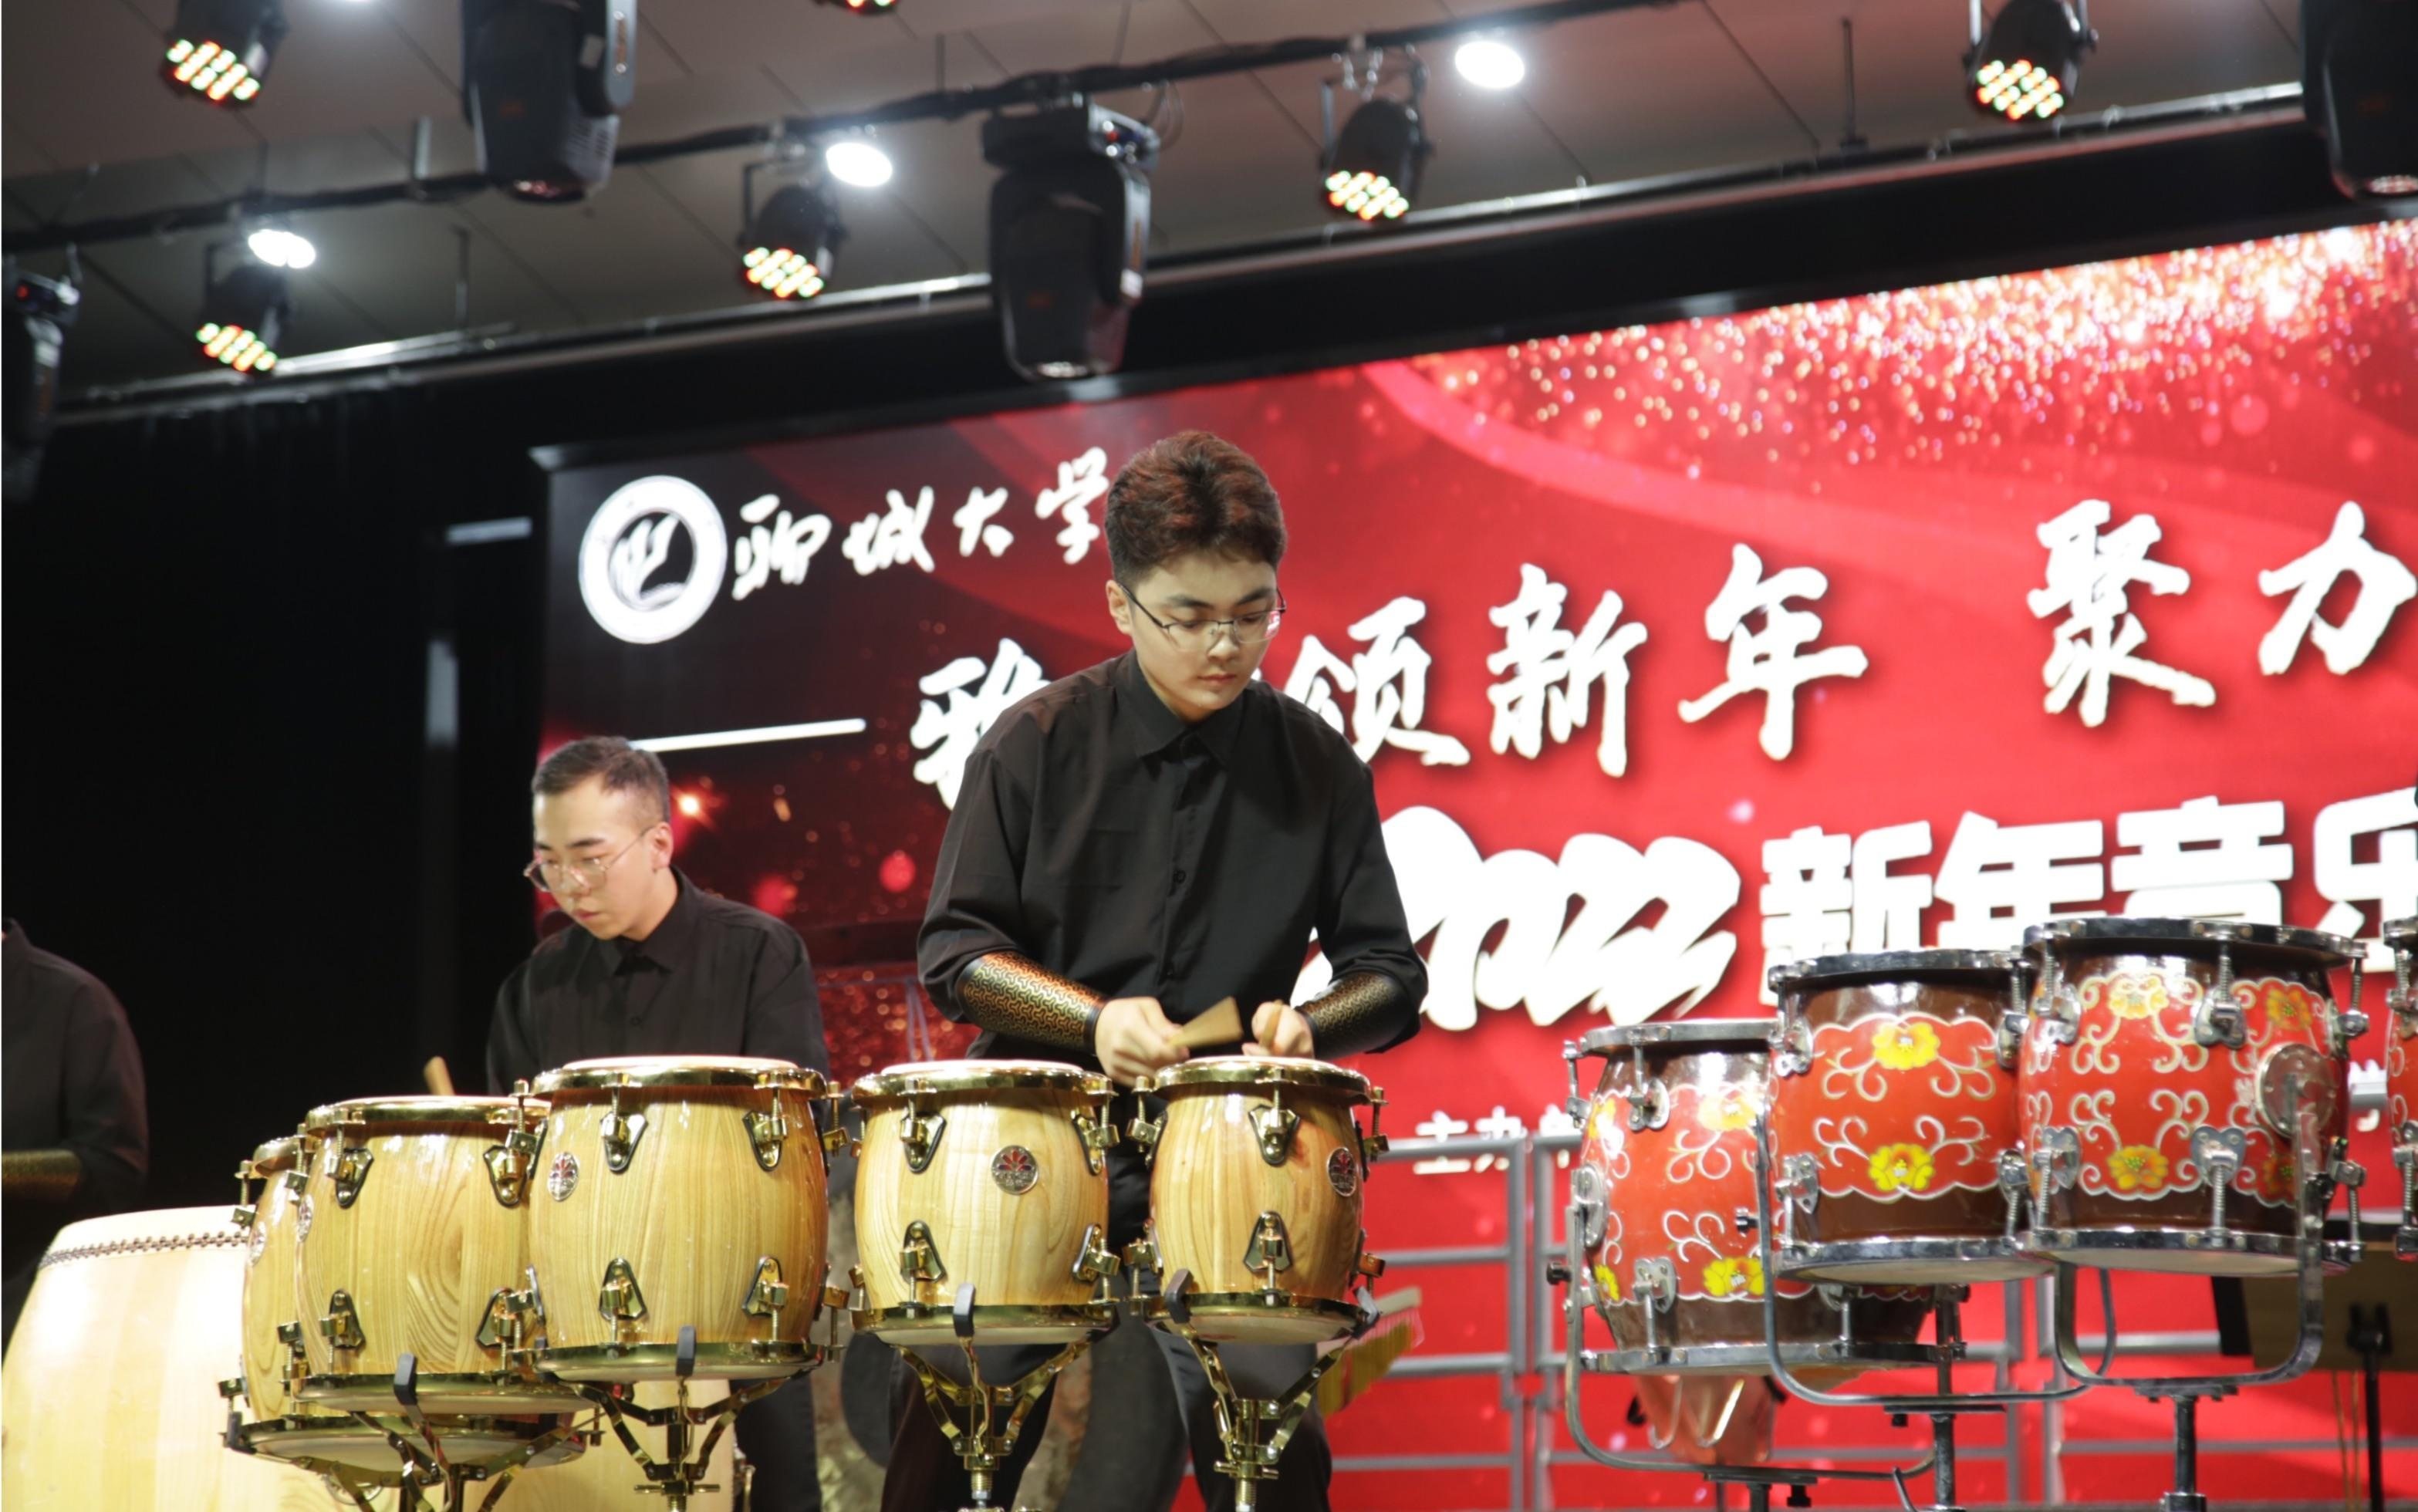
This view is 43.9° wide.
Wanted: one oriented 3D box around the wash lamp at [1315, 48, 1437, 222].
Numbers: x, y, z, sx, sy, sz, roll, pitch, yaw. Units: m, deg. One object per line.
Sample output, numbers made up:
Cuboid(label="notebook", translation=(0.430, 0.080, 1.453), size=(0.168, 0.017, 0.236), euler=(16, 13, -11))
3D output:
Cuboid(label="wash lamp", translation=(0.462, -1.732, 8.307), size=(0.274, 0.514, 0.238), euler=(-3, -31, 11))

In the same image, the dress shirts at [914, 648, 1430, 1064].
Cuboid(label="dress shirts", translation=(-0.079, 0.285, 6.246), size=(1.116, 0.972, 0.737), euler=(4, -13, -8))

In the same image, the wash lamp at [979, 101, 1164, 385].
Cuboid(label="wash lamp", translation=(-0.395, -1.447, 8.452), size=(0.492, 0.684, 0.388), euler=(1, -13, -2))

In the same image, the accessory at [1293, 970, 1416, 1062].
Cuboid(label="accessory", translation=(0.293, 0.509, 5.909), size=(0.142, 0.086, 0.215), euler=(-32, -17, 33))

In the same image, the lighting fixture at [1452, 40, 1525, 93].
Cuboid(label="lighting fixture", translation=(0.795, -1.927, 8.365), size=(0.208, 0.039, 0.254), euler=(5, -15, -15))

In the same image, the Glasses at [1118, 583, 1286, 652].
Cuboid(label="Glasses", translation=(-0.007, -0.265, 5.891), size=(0.303, 0.132, 0.088), euler=(3, -13, -7))

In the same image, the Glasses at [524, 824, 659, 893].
Cuboid(label="Glasses", translation=(-1.467, 0.274, 7.006), size=(0.185, 0.059, 0.191), euler=(-19, 7, 45))

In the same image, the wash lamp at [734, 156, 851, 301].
Cuboid(label="wash lamp", translation=(-1.211, -1.547, 8.734), size=(0.337, 0.499, 0.269), euler=(-4, -13, 20))
